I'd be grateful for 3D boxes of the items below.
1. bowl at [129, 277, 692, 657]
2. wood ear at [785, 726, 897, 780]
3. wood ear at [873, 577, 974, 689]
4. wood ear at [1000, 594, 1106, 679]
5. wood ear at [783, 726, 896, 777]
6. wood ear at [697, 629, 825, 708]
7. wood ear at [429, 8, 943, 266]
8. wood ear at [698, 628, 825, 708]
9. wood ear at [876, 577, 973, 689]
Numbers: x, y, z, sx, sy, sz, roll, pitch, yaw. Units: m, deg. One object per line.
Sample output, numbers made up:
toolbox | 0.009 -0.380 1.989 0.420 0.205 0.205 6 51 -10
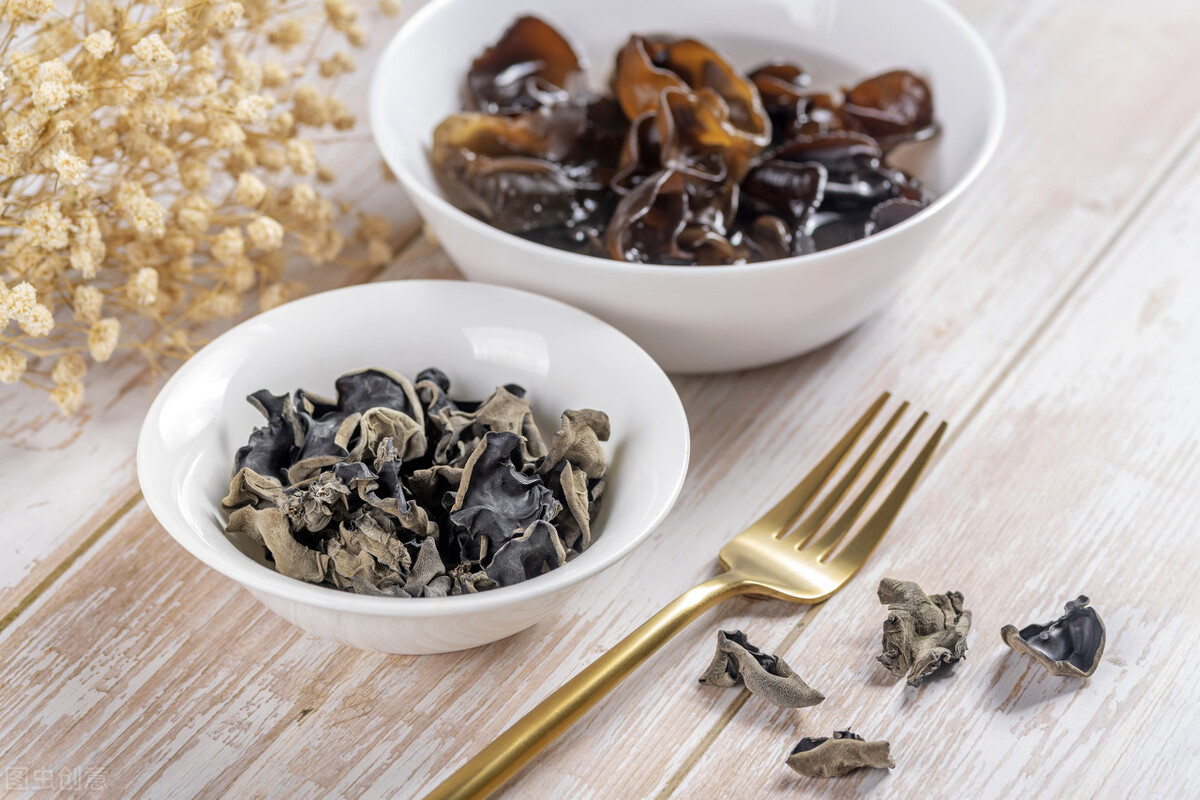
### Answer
bowl | -0.186 0.011 1.015 0.329 0.116 0.346 3 40 -3
wood ear | 0.182 0.267 0.956 0.055 0.019 0.040 -2 39 -9
wood ear | 0.259 0.184 1.009 0.072 0.028 0.084 5 60 7
wood ear | 0.367 0.194 1.007 0.084 0.032 0.055 -18 59 -7
wood ear | 0.190 0.265 0.956 0.054 0.019 0.039 -1 39 -9
wood ear | 0.127 0.211 0.982 0.083 0.036 0.052 19 44 17
wood ear | 0.075 -0.233 1.213 0.322 0.125 0.343 11 37 8
wood ear | 0.127 0.210 0.983 0.083 0.036 0.052 19 44 17
wood ear | 0.254 0.170 1.038 0.085 0.052 0.119 0 21 23
